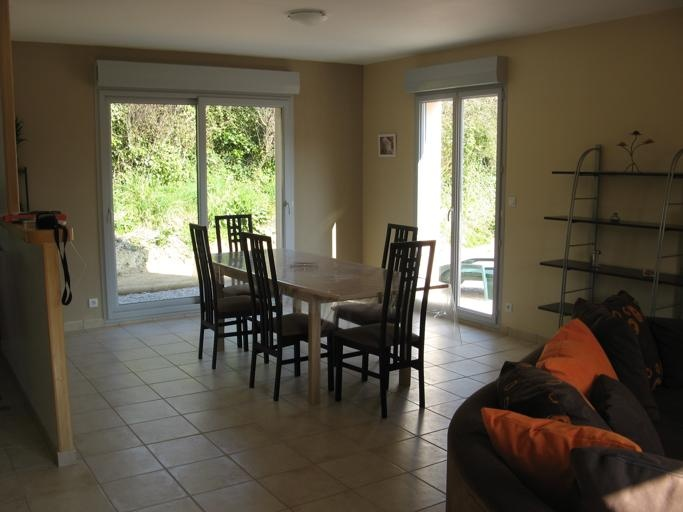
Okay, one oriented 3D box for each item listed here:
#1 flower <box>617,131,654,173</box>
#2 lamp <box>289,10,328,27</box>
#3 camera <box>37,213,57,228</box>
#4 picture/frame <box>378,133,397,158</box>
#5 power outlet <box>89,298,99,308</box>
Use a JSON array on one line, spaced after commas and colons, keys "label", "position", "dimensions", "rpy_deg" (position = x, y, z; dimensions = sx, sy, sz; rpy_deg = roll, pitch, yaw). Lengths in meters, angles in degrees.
[{"label": "flower", "position": [2.608, -0.918, 4.515], "dimensions": [0.146, 0.416, 0.341], "rpy_deg": [-9, 11, -42]}, {"label": "lamp", "position": [-0.303, -2.072, 4.462], "dimensions": [0.362, 0.102, 0.255], "rpy_deg": [0, 10, -2]}, {"label": "camera", "position": [-1.765, -0.214, 3.101], "dimensions": [0.107, 0.112, 0.077], "rpy_deg": [-1, 11, -21]}, {"label": "picture/frame", "position": [0.639, -1.500, 6.970], "dimensions": [0.022, 0.327, 0.318], "rpy_deg": [-6, 11, -36]}, {"label": "power outlet", "position": [-2.898, 0.546, 5.990], "dimensions": [0.102, 0.107, 0.024], "rpy_deg": [1, 3, -28]}]
